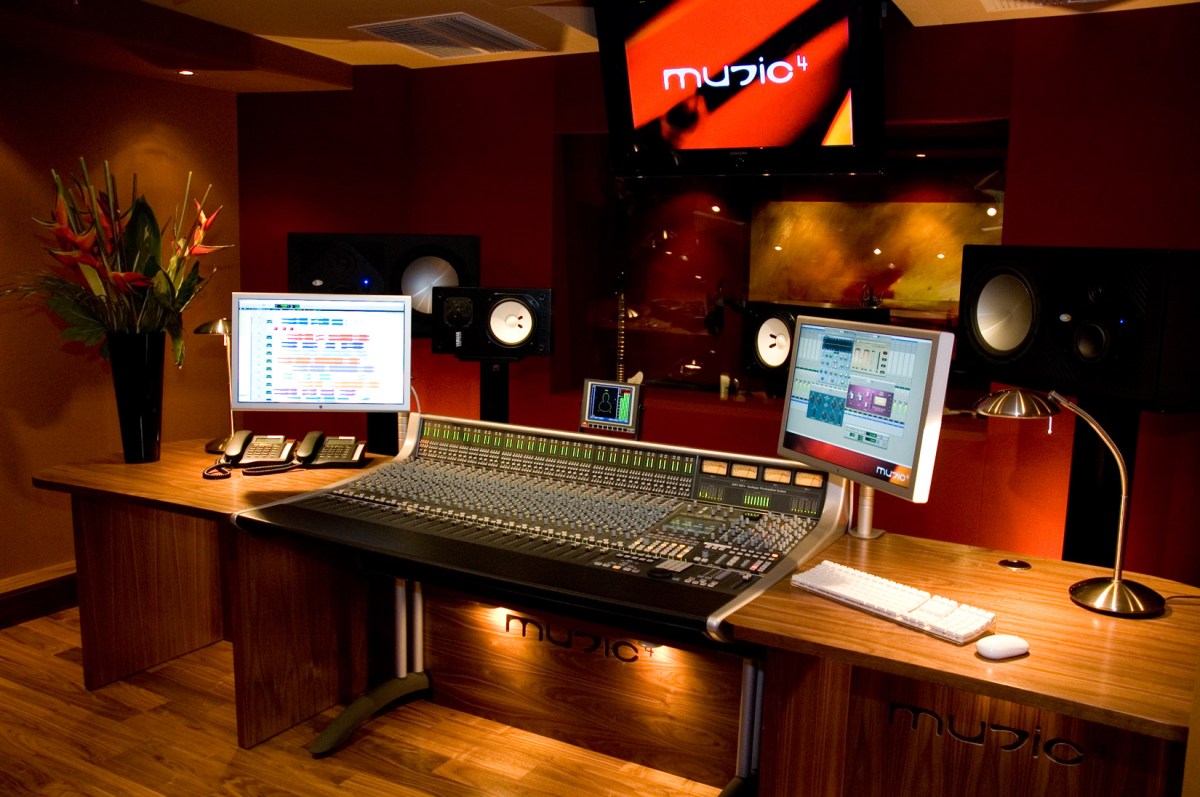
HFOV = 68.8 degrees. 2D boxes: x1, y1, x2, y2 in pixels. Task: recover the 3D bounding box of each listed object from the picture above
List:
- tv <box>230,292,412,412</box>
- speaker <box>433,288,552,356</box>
[{"bbox_3d":[-1.127,-0.194,3.474,0.532,0.323,0.038,1,1,-2],"label":"tv"},{"bbox_3d":[-0.439,-0.346,3.931,0.550,0.306,0.297,4,9,20],"label":"speaker"}]
